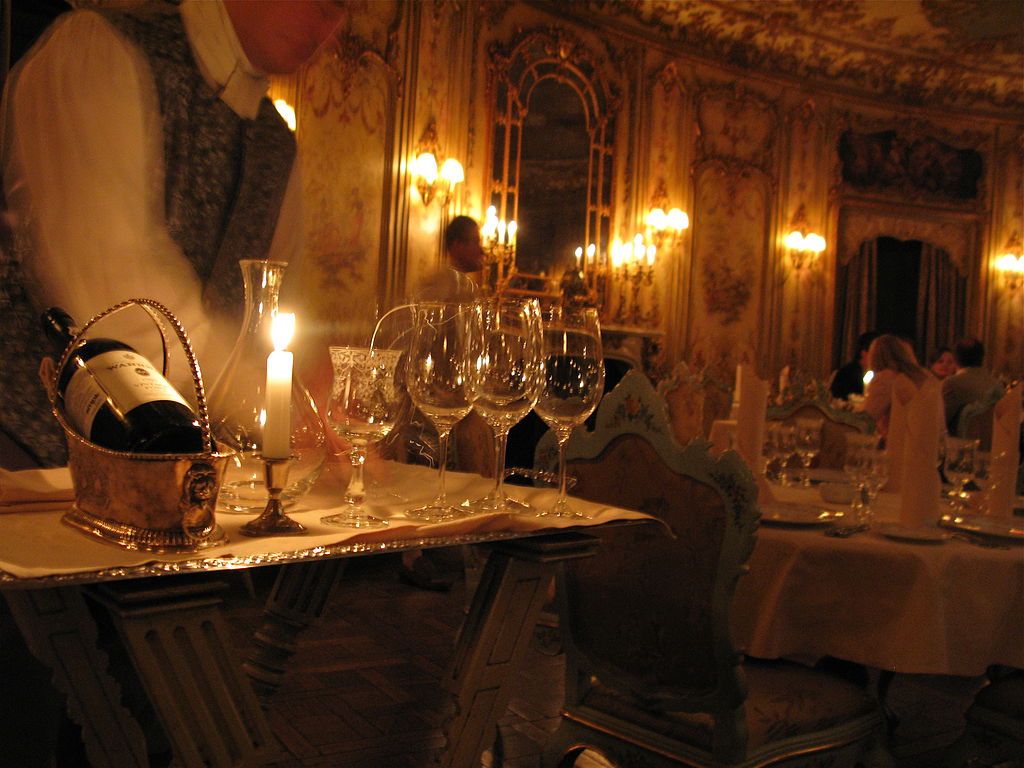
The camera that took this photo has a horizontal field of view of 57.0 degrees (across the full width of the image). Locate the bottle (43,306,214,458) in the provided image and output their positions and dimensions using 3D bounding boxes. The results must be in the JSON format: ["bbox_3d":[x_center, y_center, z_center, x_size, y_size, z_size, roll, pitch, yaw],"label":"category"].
[{"bbox_3d":[-0.638,0.018,1.589,0.279,0.181,0.115,3,5,25],"label":"bottle"}]

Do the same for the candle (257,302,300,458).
[{"bbox_3d":[-0.435,-0.005,1.756,0.062,0.263,0.223,0,4,-15],"label":"candle"}]

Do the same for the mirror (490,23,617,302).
[{"bbox_3d":[0.358,-1.786,7.425,0.266,2.044,1.372,5,6,42],"label":"mirror"}]

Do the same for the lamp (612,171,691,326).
[{"bbox_3d":[1.184,-1.134,7.997,0.842,1.268,0.228,-3,6,-41],"label":"lamp"}]
